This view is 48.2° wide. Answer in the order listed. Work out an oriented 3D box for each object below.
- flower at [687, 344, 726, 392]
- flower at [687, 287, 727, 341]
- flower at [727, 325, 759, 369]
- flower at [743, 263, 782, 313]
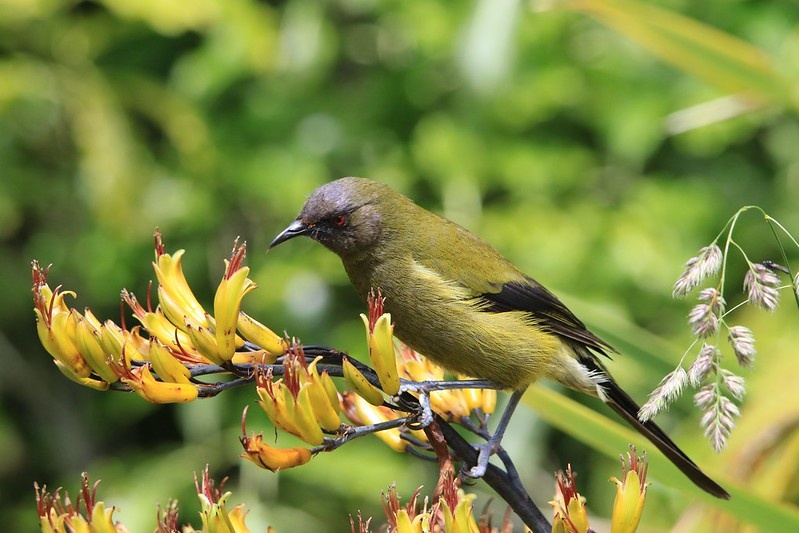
[{"bbox_3d":[1.231,0.403,3.593,0.186,0.090,0.099,-49,-28,2],"label":"flower"},{"bbox_3d":[1.255,0.194,3.663,0.113,0.128,0.218,20,-85,-35],"label":"flower"},{"bbox_3d":[1.407,0.318,3.658,0.089,0.175,0.086,-24,-34,1],"label":"flower"},{"bbox_3d":[1.486,0.085,3.698,0.120,0.207,0.117,-31,-20,29],"label":"flower"}]
